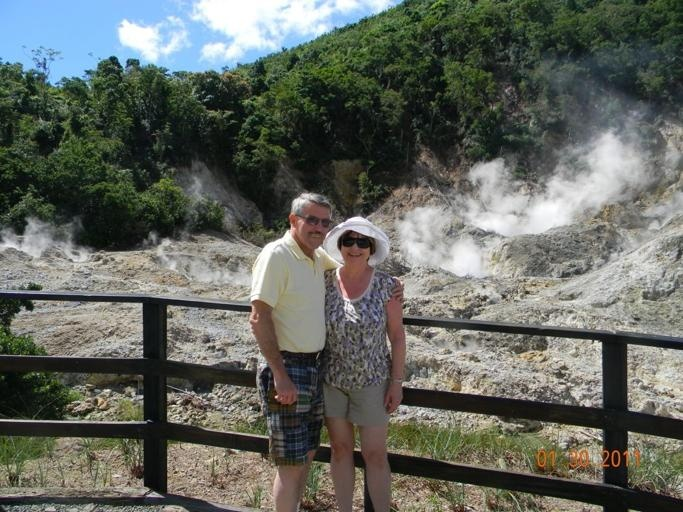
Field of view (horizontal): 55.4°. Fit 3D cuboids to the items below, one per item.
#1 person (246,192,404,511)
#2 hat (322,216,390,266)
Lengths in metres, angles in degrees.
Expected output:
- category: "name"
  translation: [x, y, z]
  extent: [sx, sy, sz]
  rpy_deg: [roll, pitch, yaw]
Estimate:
- category: "person"
  translation: [-0.397, 0.832, 5.665]
  extent: [0.765, 2.732, 0.391]
  rpy_deg: [-8, 6, -40]
- category: "hat"
  translation: [0.151, -0.156, 5.852]
  extent: [0.464, 0.227, 0.487]
  rpy_deg: [24, -40, -7]
